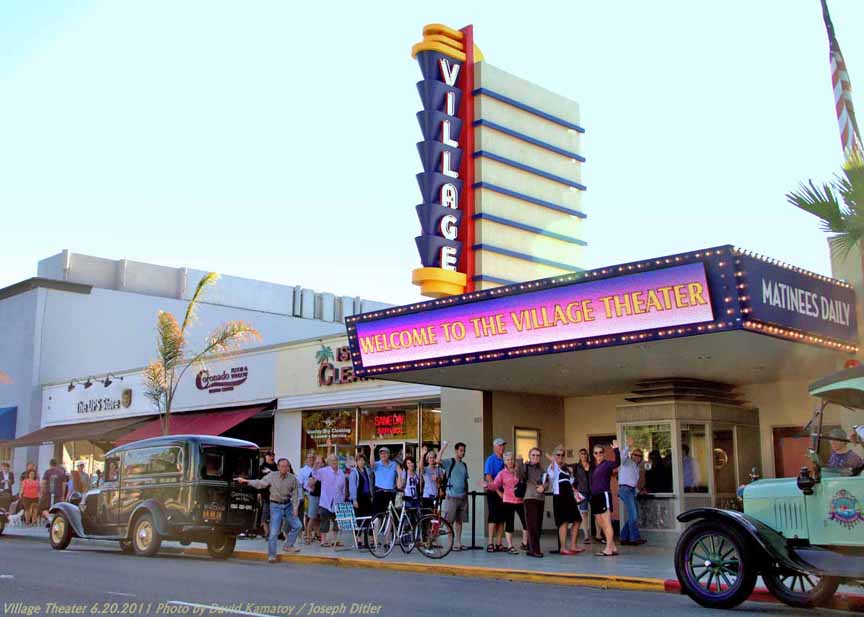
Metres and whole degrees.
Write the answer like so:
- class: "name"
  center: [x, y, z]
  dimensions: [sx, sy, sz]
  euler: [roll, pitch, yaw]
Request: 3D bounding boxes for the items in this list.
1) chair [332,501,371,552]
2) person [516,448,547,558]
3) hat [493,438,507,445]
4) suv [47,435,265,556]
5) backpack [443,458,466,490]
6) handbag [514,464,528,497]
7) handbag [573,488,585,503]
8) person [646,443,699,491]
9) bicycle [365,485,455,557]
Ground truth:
- class: "chair"
  center: [-1.888, 5.014, 16.990]
  dimensions: [0.887, 1.046, 0.931]
  euler: [-8, -16, 21]
- class: "person"
  center: [2.221, 4.219, 16.027]
  dimensions: [0.533, 2.321, 0.993]
  euler: [-2, -14, 8]
- class: "hat"
  center: [1.538, 3.093, 17.049]
  dimensions: [0.228, 0.116, 0.342]
  euler: [7, -12, -17]
- class: "suv"
  center: [-6.916, 4.587, 18.216]
  dimensions: [4.805, 2.302, 2.676]
  euler: [-7, -14, 41]
- class: "backpack"
  center: [0.534, 3.924, 17.297]
  dimensions: [0.581, 0.686, 0.388]
  euler: [13, -33, -22]
- class: "handbag"
  center: [1.969, 3.782, 16.007]
  dimensions: [0.276, 0.627, 0.435]
  euler: [7, -5, -1]
- class: "handbag"
  center: [3.273, 4.158, 16.248]
  dimensions: [0.149, 0.260, 1.109]
  euler: [-4, -16, 14]
- class: "person"
  center: [6.264, 4.084, 18.808]
  dimensions: [0.654, 1.191, 1.163]
  euler: [5, -7, -44]
- class: "bicycle"
  center: [-0.454, 4.966, 16.672]
  dimensions: [2.062, 1.307, 1.055]
  euler: [-3, -10, 24]
